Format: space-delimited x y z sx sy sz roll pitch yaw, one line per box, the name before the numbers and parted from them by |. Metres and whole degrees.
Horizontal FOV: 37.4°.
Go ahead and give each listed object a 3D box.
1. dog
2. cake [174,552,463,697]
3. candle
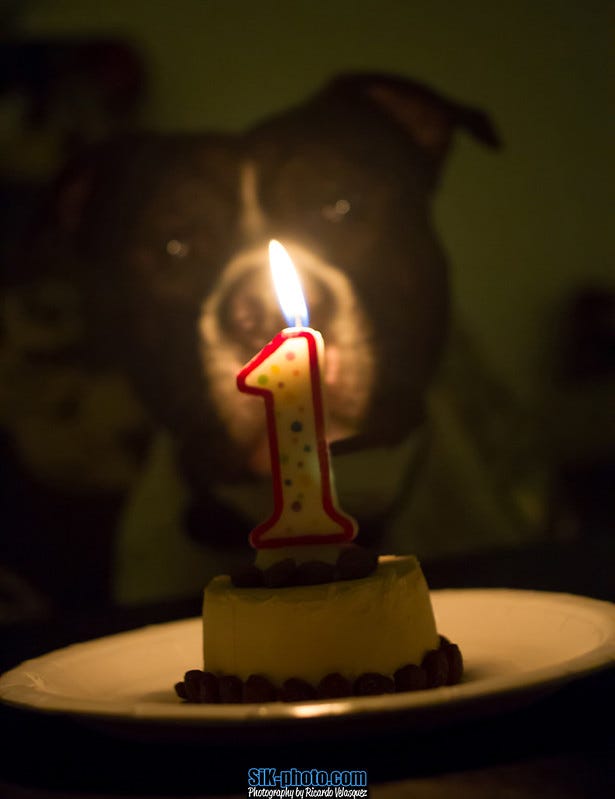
dog | 0.014 -0.098 1.490 0.968 0.460 0.756 -10 80 -2
cake | 0.012 0.212 0.967 0.231 0.069 0.215 -3 -8 11
candle | -0.013 0.050 1.022 0.120 0.234 0.167 -4 39 -7
